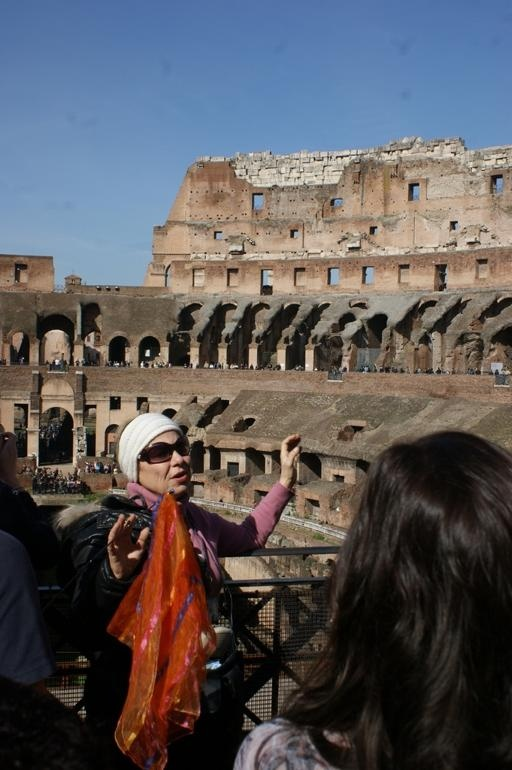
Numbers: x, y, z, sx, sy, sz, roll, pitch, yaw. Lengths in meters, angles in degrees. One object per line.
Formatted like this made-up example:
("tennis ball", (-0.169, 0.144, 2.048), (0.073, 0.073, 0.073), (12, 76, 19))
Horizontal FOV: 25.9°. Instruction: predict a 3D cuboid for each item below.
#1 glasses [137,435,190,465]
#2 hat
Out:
("glasses", (-0.371, 0.268, 4.448), (0.127, 0.044, 0.116), (-20, -10, 37))
("hat", (-0.414, 0.241, 4.527), (0.213, 0.301, 0.289), (0, -9, -6))
